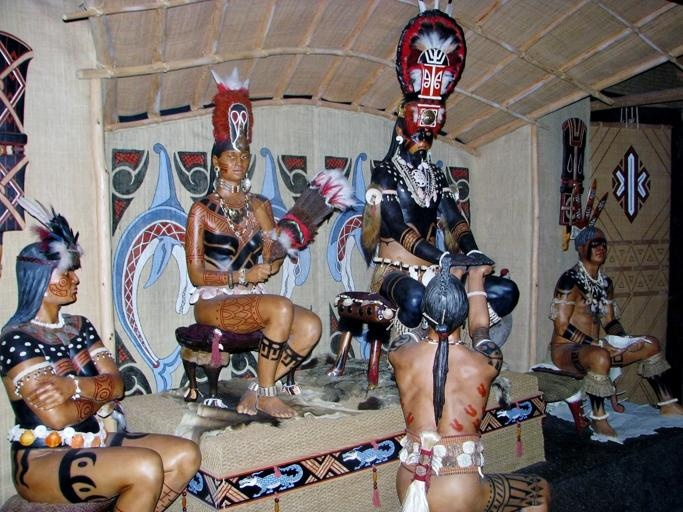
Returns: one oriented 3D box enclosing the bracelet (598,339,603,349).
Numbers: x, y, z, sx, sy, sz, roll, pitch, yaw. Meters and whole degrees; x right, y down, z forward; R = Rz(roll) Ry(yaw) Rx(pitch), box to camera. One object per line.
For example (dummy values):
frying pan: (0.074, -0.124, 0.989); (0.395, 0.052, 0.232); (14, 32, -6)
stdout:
bracelet: (2.291, 0.773, 6.072); (0.051, 0.080, 0.020); (0, -4, -1)

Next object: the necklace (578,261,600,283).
necklace: (2.212, 0.165, 6.161); (0.218, 0.085, 0.164); (43, -6, -13)

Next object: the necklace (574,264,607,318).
necklace: (2.204, 0.315, 6.113); (0.419, 0.580, 0.252); (-2, 4, -43)

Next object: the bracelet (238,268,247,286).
bracelet: (-0.696, 0.145, 4.843); (0.061, 0.094, 0.035); (0, -4, 3)

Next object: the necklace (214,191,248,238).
necklace: (-0.802, -0.311, 5.014); (0.191, 0.341, 0.063); (-16, -3, -41)

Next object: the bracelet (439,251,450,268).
bracelet: (0.705, 0.026, 4.646); (0.043, 0.123, 0.084); (5, -3, 41)

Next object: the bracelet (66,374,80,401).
bracelet: (-1.529, 0.759, 3.952); (0.040, 0.127, 0.090); (-3, 6, 6)

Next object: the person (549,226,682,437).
person: (2.369, 0.623, 6.109); (0.923, 1.818, 0.656); (1, 0, -25)

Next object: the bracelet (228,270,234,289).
bracelet: (-0.784, 0.158, 4.853); (0.043, 0.108, 0.048); (0, 0, -11)

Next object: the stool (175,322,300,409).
stool: (-0.874, 0.691, 4.866); (0.717, 0.557, 0.593); (9, -14, -24)

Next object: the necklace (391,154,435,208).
necklace: (0.578, -0.586, 5.271); (0.298, 0.432, 0.109); (-18, -9, -41)
